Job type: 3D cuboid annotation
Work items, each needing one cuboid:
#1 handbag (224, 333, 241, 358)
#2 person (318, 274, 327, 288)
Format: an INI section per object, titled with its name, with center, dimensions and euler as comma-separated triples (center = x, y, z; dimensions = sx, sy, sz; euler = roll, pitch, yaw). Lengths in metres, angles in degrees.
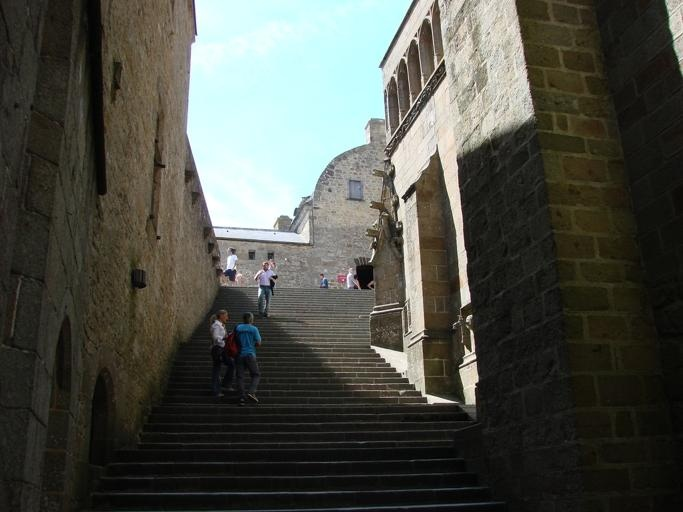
[handbag]
center = -1.777, 1.484, 9.608
dimensions = 0.332, 0.397, 0.184
euler = 8, -33, -23
[person]
center = -0.949, 1.261, 30.013
dimensions = 0.298, 0.829, 0.391
euler = 4, -39, -12
